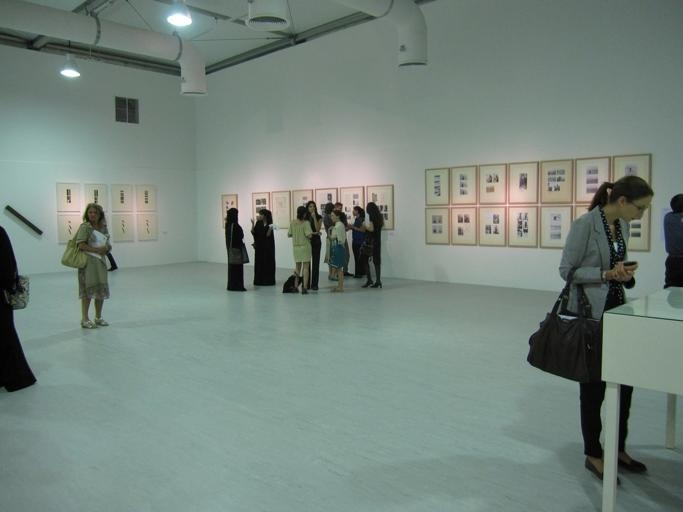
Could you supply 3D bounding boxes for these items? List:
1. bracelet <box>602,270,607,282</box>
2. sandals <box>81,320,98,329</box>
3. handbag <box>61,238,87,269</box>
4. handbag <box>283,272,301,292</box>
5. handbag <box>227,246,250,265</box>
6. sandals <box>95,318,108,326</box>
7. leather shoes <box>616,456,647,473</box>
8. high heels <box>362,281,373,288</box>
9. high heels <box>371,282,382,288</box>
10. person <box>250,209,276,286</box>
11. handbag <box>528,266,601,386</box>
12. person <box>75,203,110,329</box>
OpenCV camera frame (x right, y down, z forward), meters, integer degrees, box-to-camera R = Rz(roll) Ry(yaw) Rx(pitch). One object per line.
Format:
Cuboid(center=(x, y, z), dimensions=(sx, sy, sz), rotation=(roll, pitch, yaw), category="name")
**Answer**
Cuboid(center=(1.970, 0.151, 3.709), dimensions=(0.031, 0.056, 0.053), rotation=(-11, 36, 2), category="bracelet")
Cuboid(center=(-4.116, 1.129, 8.141), dimensions=(0.273, 0.128, 0.108), rotation=(0, 1, 14), category="sandals")
Cuboid(center=(-4.113, -0.031, 7.649), dimensions=(0.328, 0.467, 0.311), rotation=(-3, 6, -31), category="handbag")
Cuboid(center=(-1.106, 0.655, 11.392), dimensions=(0.490, 0.560, 0.253), rotation=(9, -4, -7), category="handbag")
Cuboid(center=(-2.478, -0.009, 11.861), dimensions=(0.491, 0.587, 0.210), rotation=(0, -1, 2), category="handbag")
Cuboid(center=(-4.003, 1.112, 8.331), dimensions=(0.225, 0.115, 0.091), rotation=(2, 1, 14), category="sandals")
Cuboid(center=(2.322, 1.662, 3.972), dimensions=(0.227, 0.081, 0.088), rotation=(-7, 4, 29), category="leather shoes")
Cuboid(center=(0.623, 0.678, 11.756), dimensions=(0.263, 0.220, 0.111), rotation=(1, 0, 0), category="high heels")
Cuboid(center=(0.822, 0.678, 11.639), dimensions=(0.098, 0.145, 0.295), rotation=(-5, 7, -37), category="high heels")
Cuboid(center=(-1.901, -0.184, 12.099), dimensions=(0.526, 1.885, 0.518), rotation=(0, 5, -9), category="person")
Cuboid(center=(1.666, 0.566, 3.676), dimensions=(0.451, 0.647, 0.288), rotation=(0, 5, -3), category="handbag")
Cuboid(center=(-4.021, 0.175, 8.033), dimensions=(0.470, 2.036, 1.013), rotation=(-2, 6, -28), category="person")
